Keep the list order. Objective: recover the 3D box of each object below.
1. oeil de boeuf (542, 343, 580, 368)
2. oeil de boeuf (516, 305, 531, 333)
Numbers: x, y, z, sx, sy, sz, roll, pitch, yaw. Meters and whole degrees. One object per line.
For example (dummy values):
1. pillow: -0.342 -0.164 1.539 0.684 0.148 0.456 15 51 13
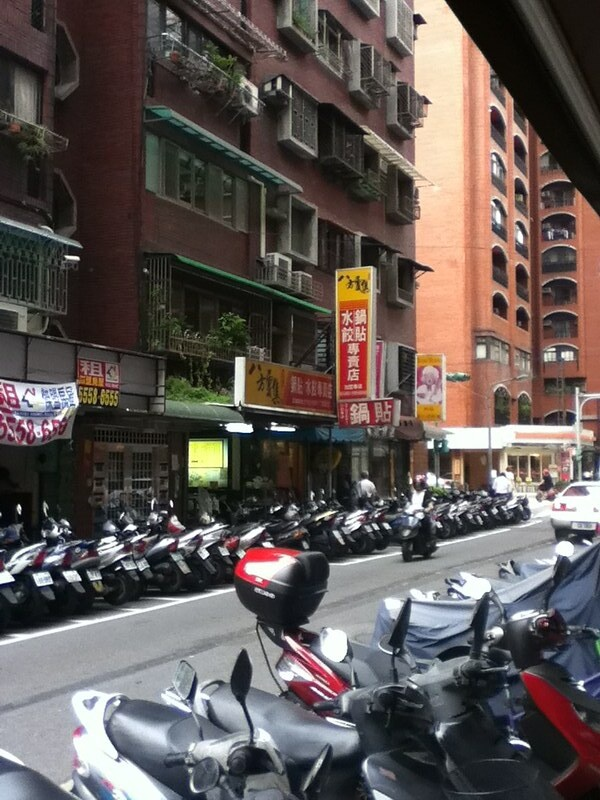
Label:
1. oeil de boeuf: 18.004 -3.272 56.913 1.951 1.312 1.394 -1 -5 19
2. oeil de boeuf: 14.389 -5.325 53.054 1.063 1.084 1.622 -4 -5 35
